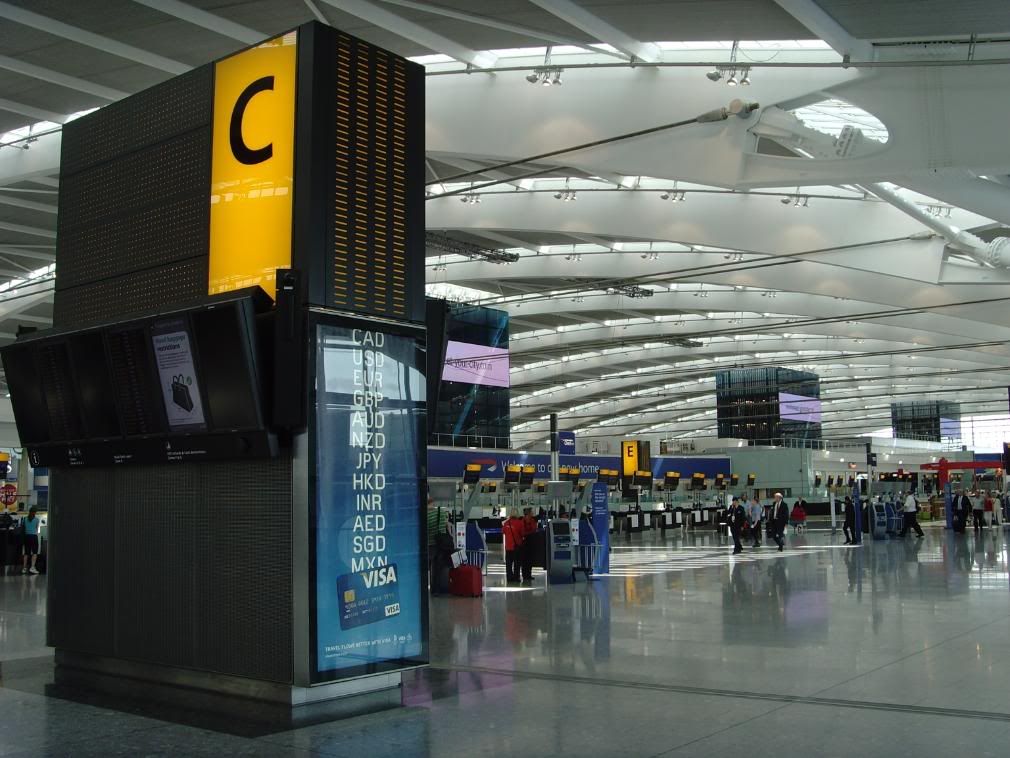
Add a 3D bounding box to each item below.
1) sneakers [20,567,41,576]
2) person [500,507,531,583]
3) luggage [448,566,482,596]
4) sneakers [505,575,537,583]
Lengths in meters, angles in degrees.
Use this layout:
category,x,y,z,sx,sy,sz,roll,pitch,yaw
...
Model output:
category,x,y,z,sx,sy,sz,roll,pitch,yaw
sneakers,-12.343,5.020,23.623,0.644,0.150,0.236,-8,-7,44
person,0.286,3.856,20.771,0.578,1.489,1.220,-3,-4,0
luggage,-0.775,4.026,18.013,0.690,0.586,0.367,-2,-4,39
sneakers,0.421,4.549,20.529,0.211,0.241,0.667,8,-17,-43
